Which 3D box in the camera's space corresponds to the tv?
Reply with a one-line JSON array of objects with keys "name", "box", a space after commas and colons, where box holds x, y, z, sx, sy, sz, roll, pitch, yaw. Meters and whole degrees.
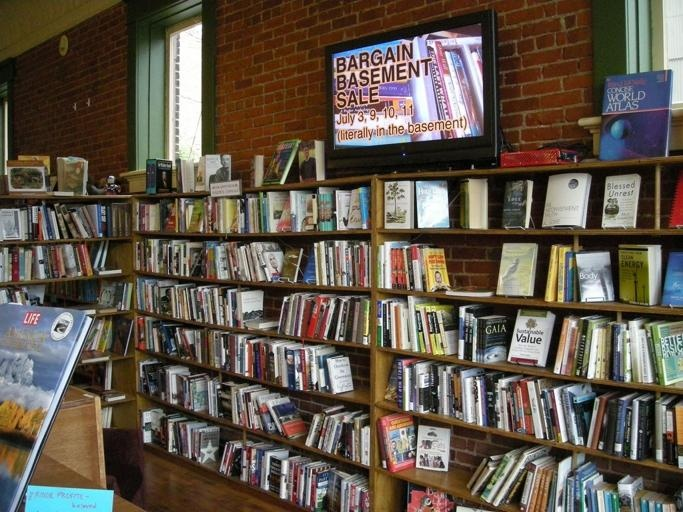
[{"name": "tv", "box": [0.462, -0.978, 3.261, 1.450, 0.876, 0.149, 0, 2, 42]}]

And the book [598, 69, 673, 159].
[{"name": "book", "box": [1.423, -0.685, 2.575, 0.283, 0.417, 0.094, 0, 3, 33]}]
